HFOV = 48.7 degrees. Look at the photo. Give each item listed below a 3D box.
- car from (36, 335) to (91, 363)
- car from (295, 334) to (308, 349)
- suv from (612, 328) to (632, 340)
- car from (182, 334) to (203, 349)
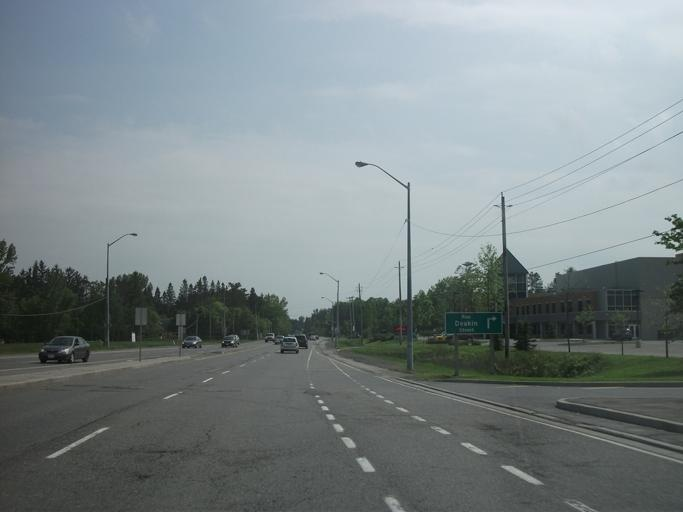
[{"bbox_3d":[-15.936,5.431,43.831,1.269,1.214,3.130,-2,-14,4],"label":"car"},{"bbox_3d":[-5.045,10.942,95.793,1.159,1.235,2.126,0,-1,0],"label":"car"},{"bbox_3d":[29.730,8.257,79.778,2.450,1.466,1.587,4,-8,-23],"label":"suv"},{"bbox_3d":[-16.057,9.036,81.264,1.499,1.416,2.941,-1,-14,2],"label":"car"}]
